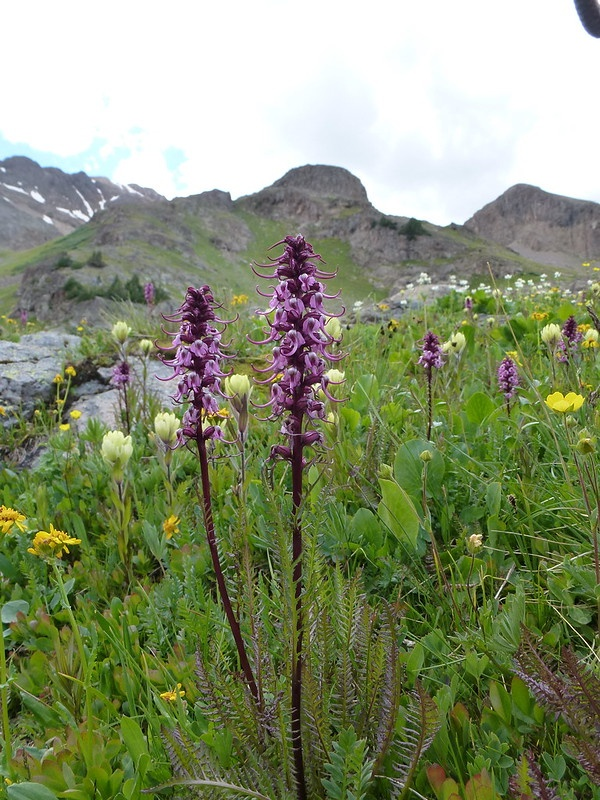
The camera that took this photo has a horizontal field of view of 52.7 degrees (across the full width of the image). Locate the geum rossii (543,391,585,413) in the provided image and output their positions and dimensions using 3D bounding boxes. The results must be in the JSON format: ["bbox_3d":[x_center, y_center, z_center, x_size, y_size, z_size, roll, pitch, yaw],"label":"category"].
[{"bbox_3d":[0.861,0.004,1.942,0.114,0.051,0.115,7,16,36],"label":"geum rossii"}]

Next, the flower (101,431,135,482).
[{"bbox_3d":[-0.817,0.236,2.697,0.124,0.223,0.252,-2,7,-18],"label":"flower"}]
